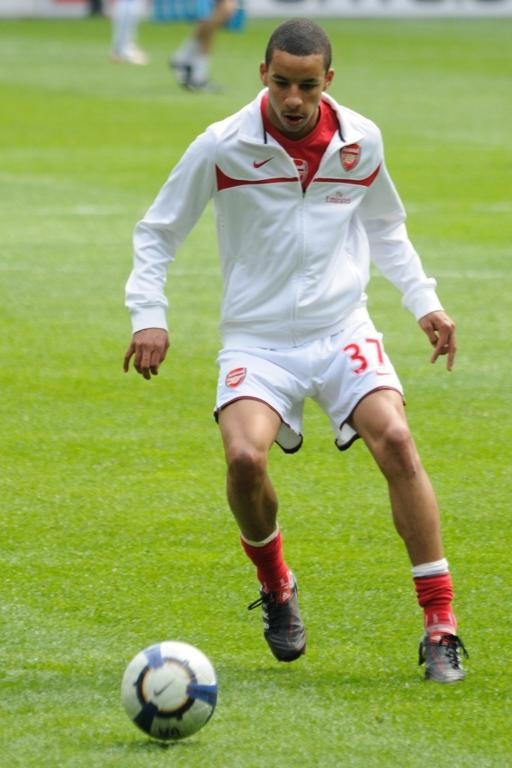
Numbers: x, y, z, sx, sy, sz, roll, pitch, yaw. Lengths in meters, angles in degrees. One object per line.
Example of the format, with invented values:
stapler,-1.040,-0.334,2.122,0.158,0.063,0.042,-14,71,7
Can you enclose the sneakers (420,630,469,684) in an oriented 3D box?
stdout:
sneakers,0.432,0.645,2.178,0.072,0.066,0.160,1,0,-14

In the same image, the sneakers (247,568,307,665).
sneakers,0.048,0.612,2.371,0.082,0.093,0.186,-21,50,13

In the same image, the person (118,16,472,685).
person,0.109,-0.108,2.444,0.915,1.602,1.092,-8,26,-8

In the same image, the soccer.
soccer,-0.159,0.578,1.813,0.234,0.172,0.190,3,-8,-2
